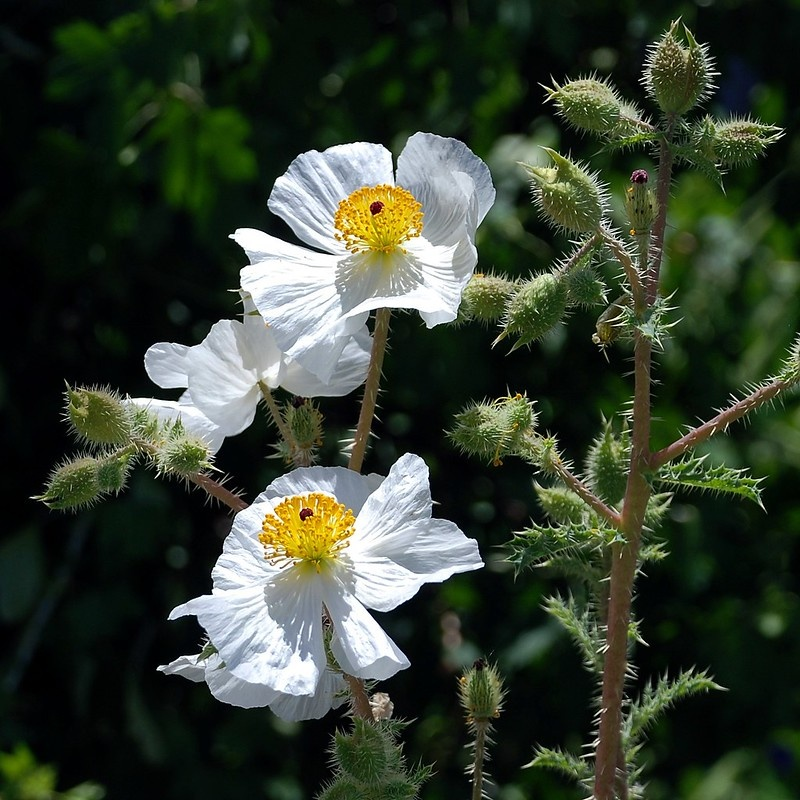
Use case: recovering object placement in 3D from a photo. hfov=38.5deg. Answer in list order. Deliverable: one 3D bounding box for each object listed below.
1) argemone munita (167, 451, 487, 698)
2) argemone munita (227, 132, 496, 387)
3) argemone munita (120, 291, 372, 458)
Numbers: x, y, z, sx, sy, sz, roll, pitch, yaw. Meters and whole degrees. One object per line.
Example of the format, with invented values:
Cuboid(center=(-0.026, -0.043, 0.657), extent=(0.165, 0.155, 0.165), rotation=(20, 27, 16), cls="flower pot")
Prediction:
Cuboid(center=(-0.153, 0.297, 2.227), extent=(0.456, 0.531, 0.249), rotation=(-13, 98, -16), cls="argemone munita")
Cuboid(center=(-0.050, -0.366, 2.443), extent=(0.516, 0.557, 0.270), rotation=(5, 72, -35), cls="argemone munita")
Cuboid(center=(-0.295, -0.113, 2.478), extent=(0.419, 0.388, 0.204), rotation=(-11, 88, 31), cls="argemone munita")
